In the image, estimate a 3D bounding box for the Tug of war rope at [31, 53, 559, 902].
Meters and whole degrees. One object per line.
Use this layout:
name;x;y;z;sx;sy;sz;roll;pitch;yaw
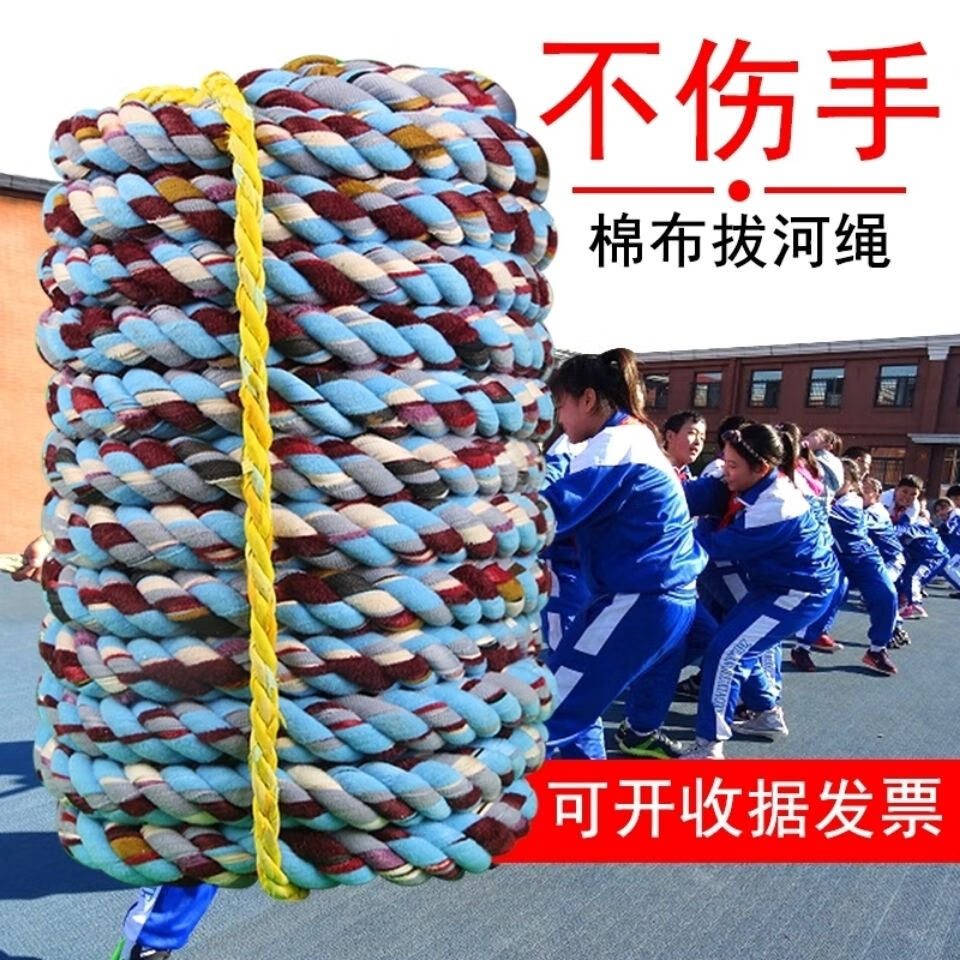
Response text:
Tug of war rope;-0.223;-0.013;1.160;0.698;0.932;0.325;8;8;3

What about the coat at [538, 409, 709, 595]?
coat;0.361;0.092;2.624;0.348;0.480;0.410;9;7;12
